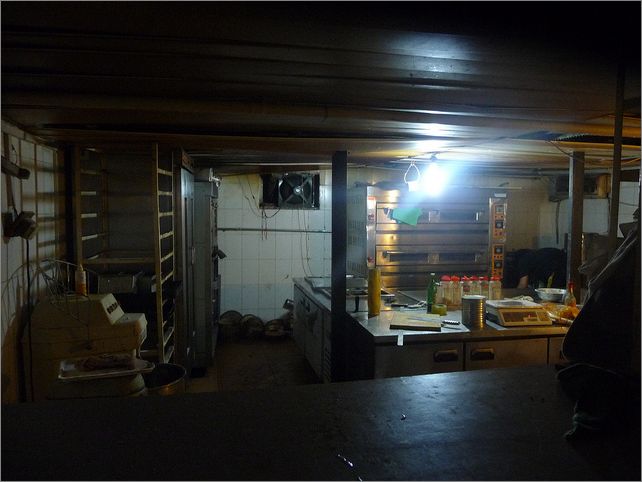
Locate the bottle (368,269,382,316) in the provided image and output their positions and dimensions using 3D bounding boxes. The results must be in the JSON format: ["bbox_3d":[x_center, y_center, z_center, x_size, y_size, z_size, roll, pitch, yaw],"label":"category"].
[{"bbox_3d":[0.415,0.395,4.101,0.091,0.347,0.212,0,12,5],"label":"bottle"}]

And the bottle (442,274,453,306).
[{"bbox_3d":[1.044,0.406,4.384,0.093,0.214,0.264,2,13,13],"label":"bottle"}]

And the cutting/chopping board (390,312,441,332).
[{"bbox_3d":[0.696,0.571,3.837,0.358,0.064,0.443,2,13,11],"label":"cutting/chopping board"}]

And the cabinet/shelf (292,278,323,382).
[{"bbox_3d":[-0.131,0.889,5.274,0.265,0.530,0.910,1,7,-9],"label":"cabinet/shelf"}]

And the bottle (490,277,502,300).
[{"bbox_3d":[1.454,0.395,4.409,0.091,0.148,0.334,3,13,17],"label":"bottle"}]

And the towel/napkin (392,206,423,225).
[{"bbox_3d":[1.006,-0.288,6.026,0.373,0.218,0.193,-8,15,-30],"label":"towel/napkin"}]

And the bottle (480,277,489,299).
[{"bbox_3d":[1.359,0.388,4.375,0.072,0.171,0.196,3,13,17],"label":"bottle"}]

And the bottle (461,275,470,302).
[{"bbox_3d":[1.197,0.370,4.354,0.076,0.133,0.118,2,13,13],"label":"bottle"}]

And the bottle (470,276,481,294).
[{"bbox_3d":[1.257,0.375,4.291,0.079,0.126,0.233,3,13,15],"label":"bottle"}]

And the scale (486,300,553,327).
[{"bbox_3d":[1.444,0.530,3.842,0.434,0.120,0.245,1,13,8],"label":"scale"}]

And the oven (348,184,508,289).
[{"bbox_3d":[1.389,-0.099,6.586,1.668,1.227,1.027,-1,19,10],"label":"oven"}]
